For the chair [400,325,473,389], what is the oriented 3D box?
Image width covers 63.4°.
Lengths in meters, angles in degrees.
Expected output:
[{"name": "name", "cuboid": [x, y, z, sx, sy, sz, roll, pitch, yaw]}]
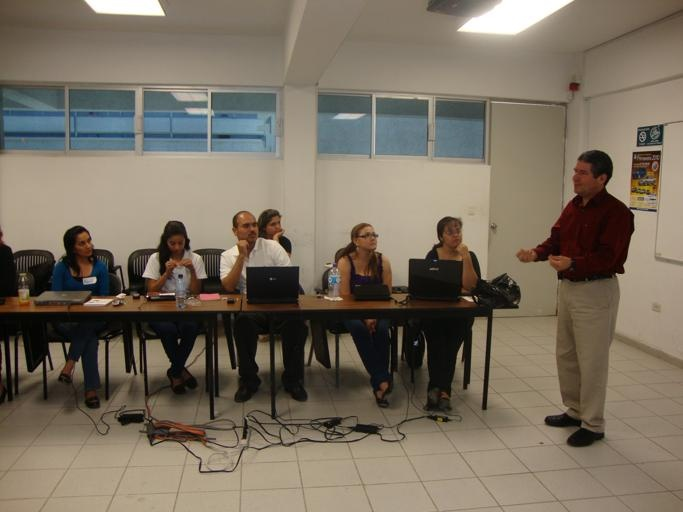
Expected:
[{"name": "chair", "cuboid": [0.825, 0.840, 4.950, 0.580, 0.811, 0.526, 0, -6, -3]}]

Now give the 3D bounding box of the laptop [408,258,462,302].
[{"name": "laptop", "cuboid": [0.784, 0.194, 4.572, 0.450, 0.338, 0.329, 1, 5, 5]}]

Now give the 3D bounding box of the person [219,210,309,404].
[{"name": "person", "cuboid": [-0.717, 0.386, 4.981, 0.665, 1.603, 0.916, -5, 6, -31]}]

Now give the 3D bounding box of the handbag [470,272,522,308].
[{"name": "handbag", "cuboid": [1.283, 0.276, 4.573, 0.322, 0.159, 0.260, -1, 32, -13]}]

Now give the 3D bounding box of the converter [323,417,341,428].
[{"name": "converter", "cuboid": [-0.060, 1.295, 4.333, 0.102, 0.026, 0.059, -6, 14, -33]}]

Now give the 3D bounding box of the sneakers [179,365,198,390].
[{"name": "sneakers", "cuboid": [-1.344, 1.083, 4.861, 0.094, 0.238, 0.061, -24, -2, -26]}]

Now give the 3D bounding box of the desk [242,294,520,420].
[{"name": "desk", "cuboid": [0.370, 0.793, 4.763, 2.085, 0.981, 0.727, -3, 7, -6]}]

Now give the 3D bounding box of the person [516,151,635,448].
[{"name": "person", "cuboid": [1.837, 0.298, 4.240, 0.641, 2.181, 0.515, -3, 7, -5]}]

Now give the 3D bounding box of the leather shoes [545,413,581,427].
[{"name": "leather shoes", "cuboid": [1.741, 1.305, 4.377, 0.300, 0.128, 0.105, 2, 5, 6]}]

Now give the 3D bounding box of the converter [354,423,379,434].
[{"name": "converter", "cuboid": [0.198, 1.323, 4.264, 0.131, 0.033, 0.075, 1, 6, 3]}]

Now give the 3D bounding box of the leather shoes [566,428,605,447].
[{"name": "leather shoes", "cuboid": [1.824, 1.346, 4.175, 0.314, 0.141, 0.116, 0, -2, -16]}]

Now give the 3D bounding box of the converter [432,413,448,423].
[{"name": "converter", "cuboid": [0.794, 1.289, 4.416, 0.101, 0.025, 0.054, 3, 15, 13]}]

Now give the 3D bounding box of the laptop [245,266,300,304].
[{"name": "laptop", "cuboid": [-0.555, 0.225, 4.445, 0.395, 0.299, 0.289, 0, 9, -7]}]

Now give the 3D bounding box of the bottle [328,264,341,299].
[{"name": "bottle", "cuboid": [-0.061, 0.217, 4.756, 0.086, 0.248, 0.220, -2, 7, 4]}]

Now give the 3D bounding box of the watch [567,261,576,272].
[{"name": "watch", "cuboid": [1.694, 0.076, 4.081, 0.051, 0.073, 0.081, 5, -32, 1]}]
